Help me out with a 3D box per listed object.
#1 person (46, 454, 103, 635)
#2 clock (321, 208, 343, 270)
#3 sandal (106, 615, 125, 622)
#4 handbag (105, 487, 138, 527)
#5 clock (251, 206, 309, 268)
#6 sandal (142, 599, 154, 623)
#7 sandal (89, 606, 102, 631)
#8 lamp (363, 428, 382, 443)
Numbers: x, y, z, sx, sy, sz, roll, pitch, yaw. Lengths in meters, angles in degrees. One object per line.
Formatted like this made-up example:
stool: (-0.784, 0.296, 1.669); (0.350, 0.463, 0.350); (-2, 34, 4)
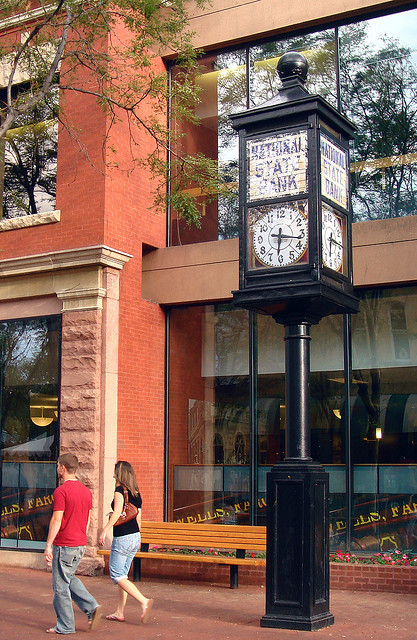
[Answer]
person: (-1.267, 2.035, 9.032); (0.369, 1.616, 0.609); (-5, -9, 22)
clock: (1.225, -0.805, 9.979); (0.043, 0.543, 0.539); (-8, -19, 27)
sandal: (-0.916, 2.931, 9.782); (0.158, 0.045, 0.062); (9, -22, 26)
handbag: (-0.786, 1.772, 9.481); (0.219, 0.367, 0.134); (0, -9, -4)
clock: (0.735, -0.822, 9.918); (0.602, 0.624, 0.056); (-4, -11, 38)
sandal: (-0.565, 2.750, 9.454); (0.057, 0.221, 0.085); (11, -8, 26)
sandal: (-1.022, 2.711, 9.134); (0.096, 0.248, 0.083); (3, -15, 44)
lamp: (2.244, 1.562, 13.546); (0.191, 0.124, 0.196); (-1, -5, 3)
